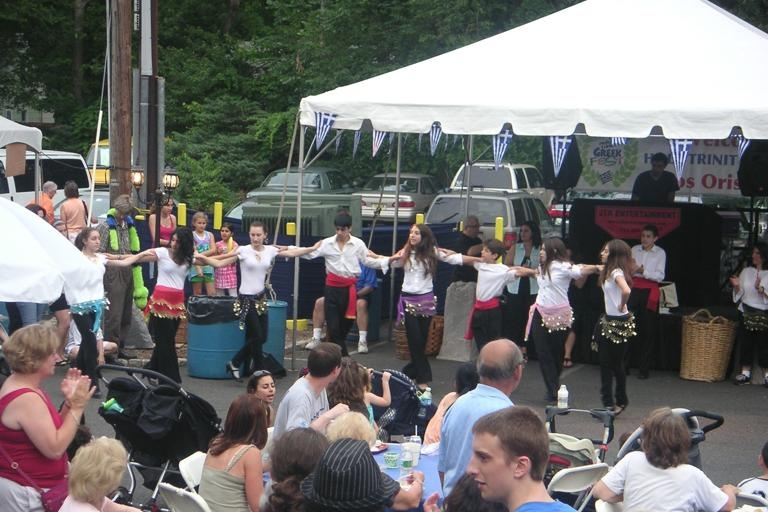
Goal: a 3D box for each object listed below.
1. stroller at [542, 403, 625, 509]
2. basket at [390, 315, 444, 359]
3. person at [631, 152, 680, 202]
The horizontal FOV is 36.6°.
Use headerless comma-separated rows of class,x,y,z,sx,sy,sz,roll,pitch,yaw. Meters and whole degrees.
stroller,2.401,2.467,14.610,1.107,1.299,1.130,2,3,3
basket,0.627,1.471,20.449,1.082,0.827,0.647,1,-19,-4
person,5.081,-1.300,21.704,0.732,1.125,1.233,8,20,7
